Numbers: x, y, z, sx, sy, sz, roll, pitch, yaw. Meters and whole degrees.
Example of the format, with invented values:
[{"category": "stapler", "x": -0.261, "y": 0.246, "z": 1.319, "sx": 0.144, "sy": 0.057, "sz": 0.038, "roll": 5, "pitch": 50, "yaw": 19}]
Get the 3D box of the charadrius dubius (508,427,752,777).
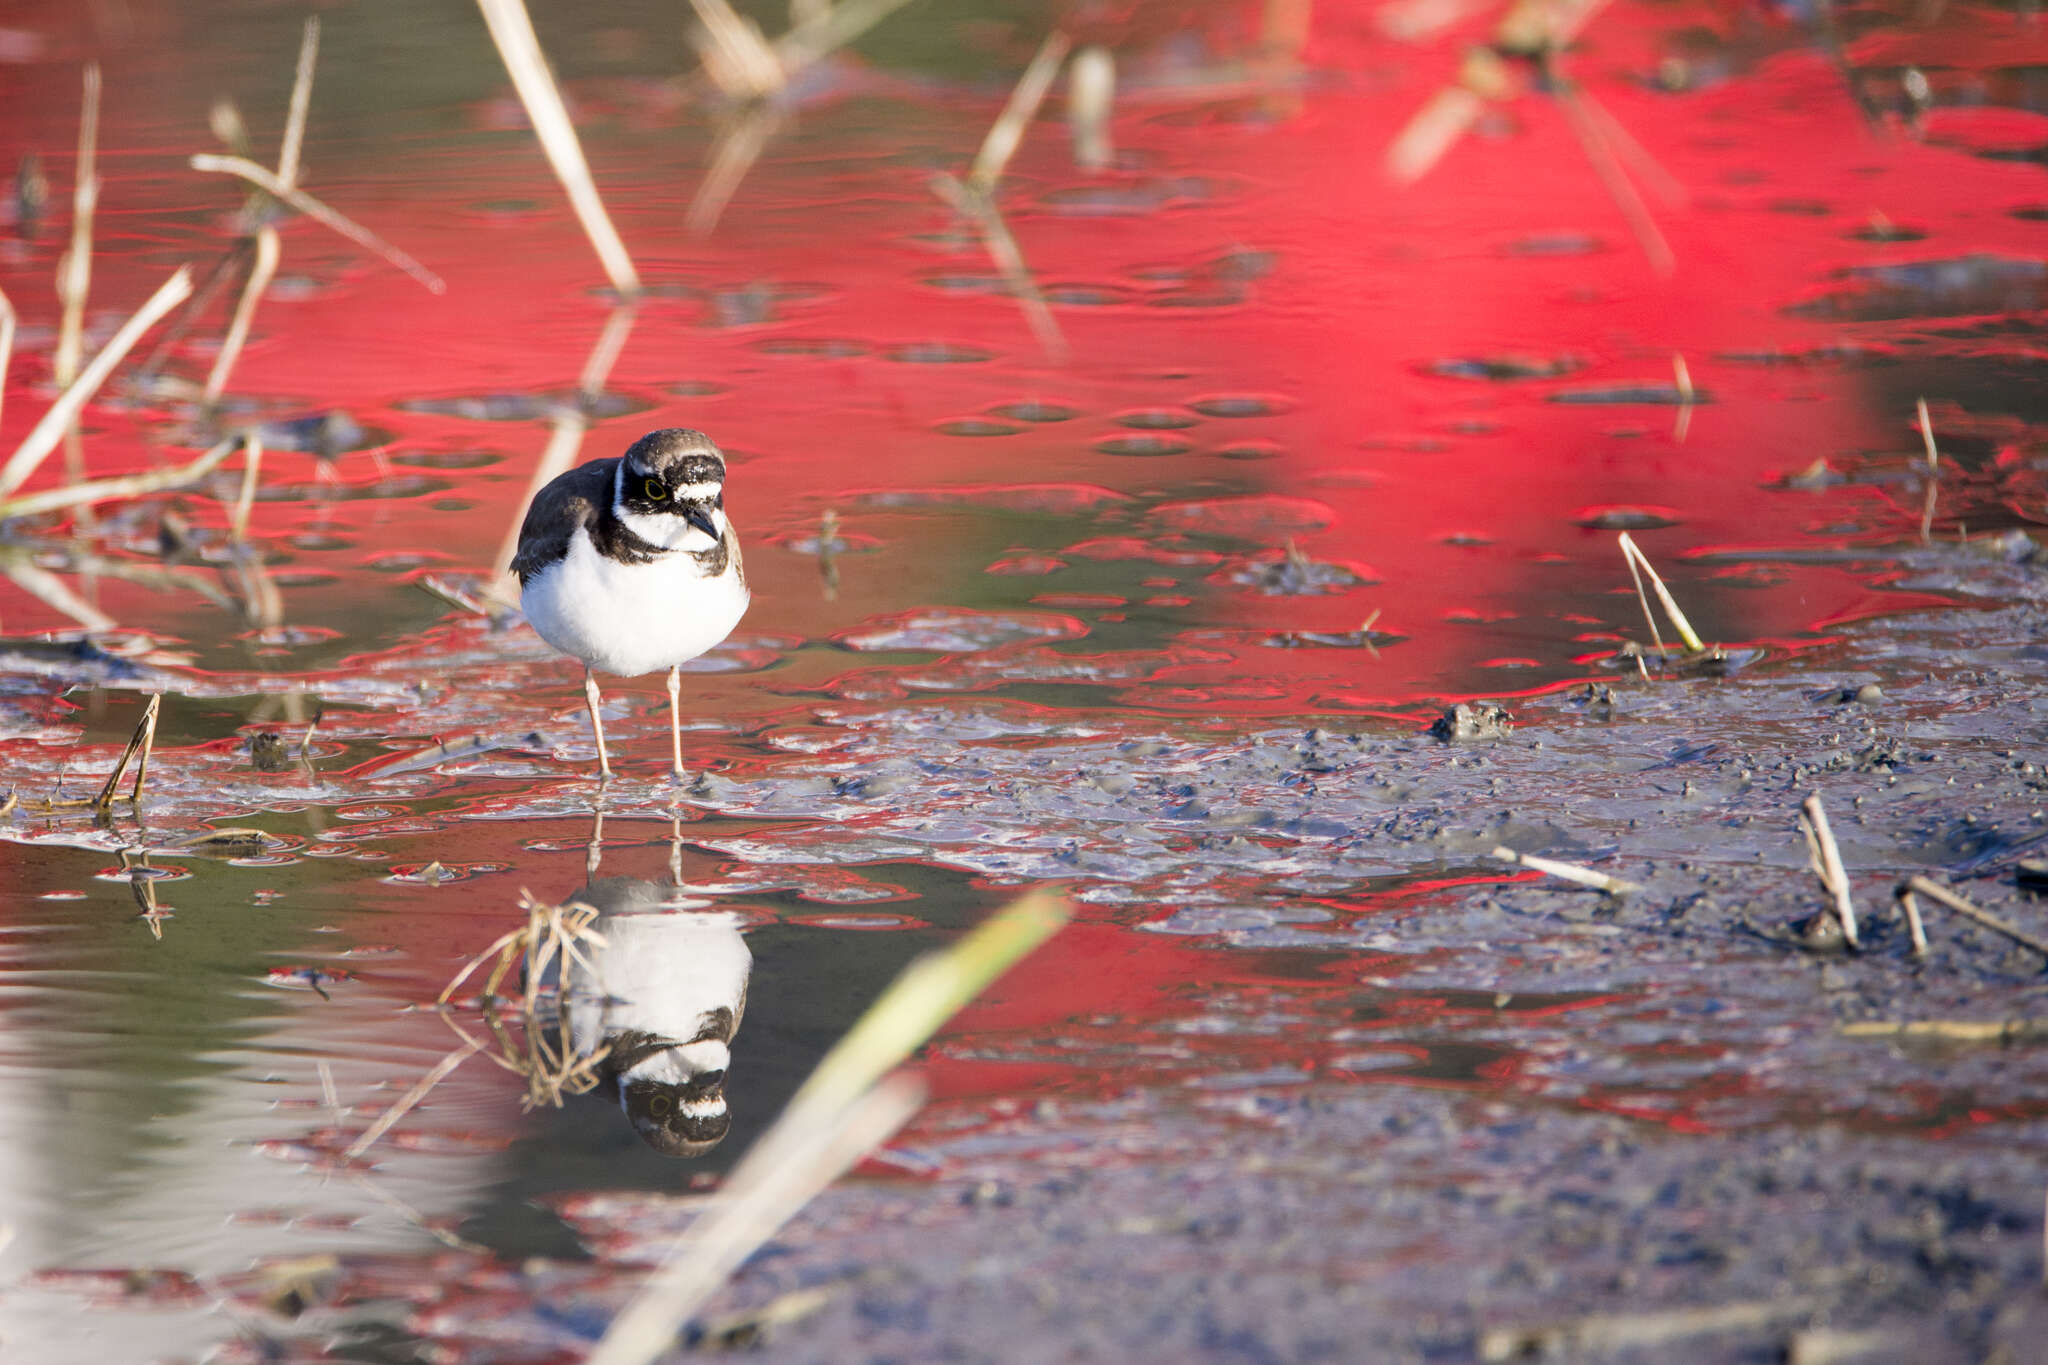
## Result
[{"category": "charadrius dubius", "x": -1.201, "y": -0.308, "z": 6.192, "sx": 0.713, "sy": 0.916, "sz": 0.393, "roll": -7, "pitch": -3, "yaw": 17}]
